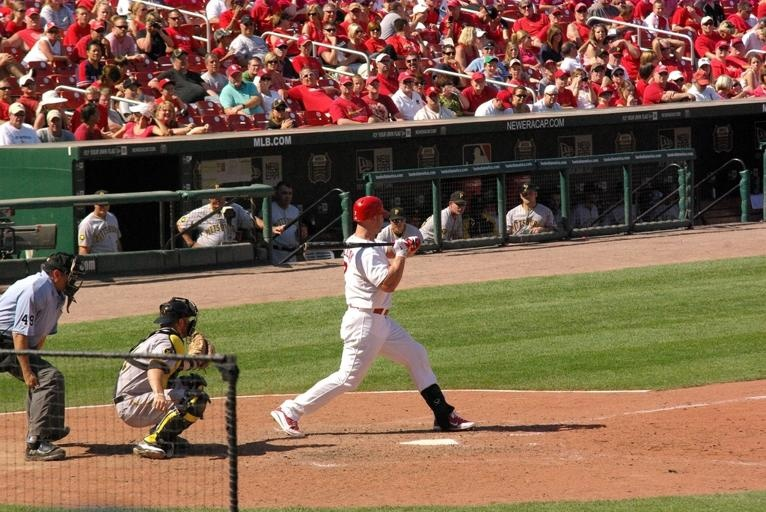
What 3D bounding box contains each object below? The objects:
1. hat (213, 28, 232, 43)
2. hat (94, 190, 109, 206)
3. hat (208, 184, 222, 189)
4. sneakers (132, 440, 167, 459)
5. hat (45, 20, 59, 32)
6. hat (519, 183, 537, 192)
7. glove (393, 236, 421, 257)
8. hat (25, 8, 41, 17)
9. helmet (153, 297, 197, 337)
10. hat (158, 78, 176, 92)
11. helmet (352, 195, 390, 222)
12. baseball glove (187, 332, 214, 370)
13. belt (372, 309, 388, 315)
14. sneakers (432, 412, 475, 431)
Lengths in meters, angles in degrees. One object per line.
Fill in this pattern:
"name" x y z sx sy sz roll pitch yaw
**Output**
"hat" -2.881 -3.944 31.809 0.279 0.141 0.198 -22 11 2
"hat" -4.558 -0.954 28.741 0.226 0.252 0.719 -1 1 -9
"hat" -2.785 -1.173 29.488 0.190 0.083 0.333 -1 1 -7
"sneakers" -2.951 2.430 22.569 0.442 0.189 0.199 15 30 2
"hat" -5.727 -3.964 30.624 0.216 0.107 0.343 -2 2 -20
"hat" 2.537 -1.200 30.780 0.230 0.164 0.485 0 1 25
"glove" 0.305 -0.164 22.794 0.279 0.111 0.266 -12 -17 16
"hat" -6.147 -4.257 31.139 0.246 0.105 0.337 -1 6 -21
"helmet" -2.641 0.746 22.803 0.444 0.456 0.557 8 11 41
"hat" -3.653 -2.880 29.855 0.239 0.216 0.479 -1 1 -7
"helmet" -0.134 -0.621 22.977 0.486 0.260 0.335 -10 17 -41
"baseball glove" -2.314 1.167 22.546 0.403 0.483 0.203 -4 -22 -5
"belt" -0.039 0.684 22.824 0.138 0.049 0.092 0 4 -6
"sneakers" 0.942 2.124 23.191 0.594 0.244 0.203 -1 2 1
